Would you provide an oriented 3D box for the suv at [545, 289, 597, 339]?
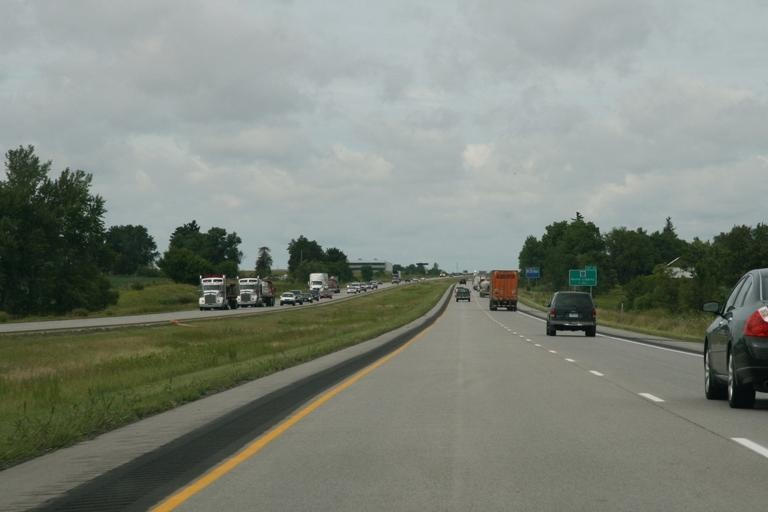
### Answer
[{"bbox_3d":[8.497,2.483,37.131,1.449,1.313,2.503,1,4,8],"label":"suv"}]

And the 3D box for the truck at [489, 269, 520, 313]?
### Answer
[{"bbox_3d":[10.995,3.134,75.036,2.395,3.594,3.087,1,-4,4],"label":"truck"}]
